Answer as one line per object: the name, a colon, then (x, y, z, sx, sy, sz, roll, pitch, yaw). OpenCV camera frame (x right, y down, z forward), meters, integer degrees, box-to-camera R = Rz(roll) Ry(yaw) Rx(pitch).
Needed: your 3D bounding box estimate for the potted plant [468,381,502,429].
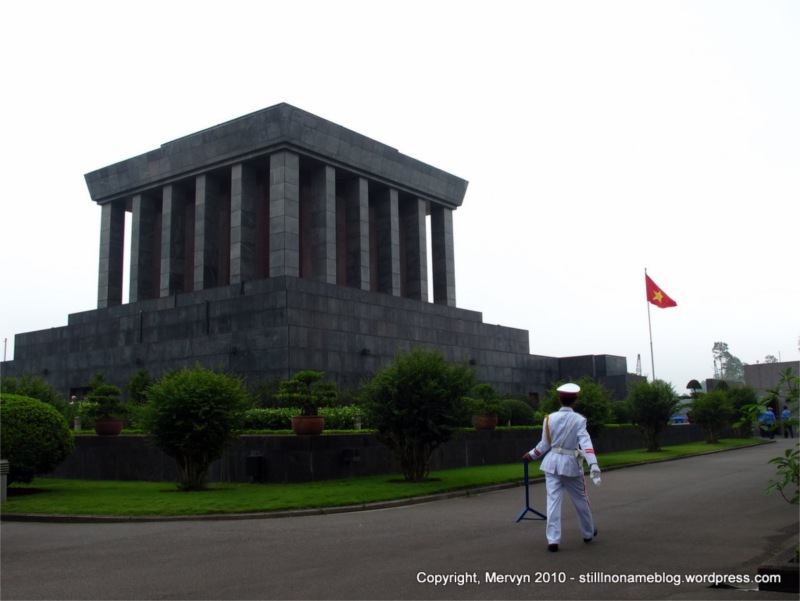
potted plant: (3.923, 4.757, 34.484, 1.631, 2.217, 1.610, -1, -6, -19)

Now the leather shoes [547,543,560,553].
leather shoes: (2.466, 3.960, 12.102, 0.187, 0.123, 0.355, -4, -12, 12)

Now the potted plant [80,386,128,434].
potted plant: (-13.773, 5.071, 34.726, 2.119, 2.639, 2.136, 0, -19, -4)

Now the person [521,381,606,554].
person: (2.767, 2.753, 12.824, 1.006, 2.737, 1.291, -2, -11, 4)

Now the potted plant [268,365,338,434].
potted plant: (-3.951, 4.345, 32.709, 2.424, 3.054, 2.459, 1, -7, -10)
